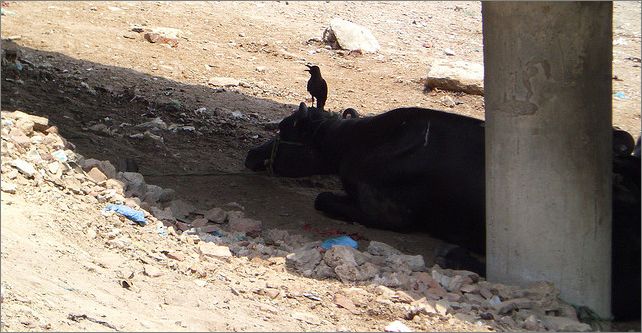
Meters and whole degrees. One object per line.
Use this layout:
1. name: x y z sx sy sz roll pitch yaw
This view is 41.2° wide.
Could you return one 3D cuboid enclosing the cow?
1. cow: 1.162 0.005 14.837 4.149 2.108 1.240 16 24 25
